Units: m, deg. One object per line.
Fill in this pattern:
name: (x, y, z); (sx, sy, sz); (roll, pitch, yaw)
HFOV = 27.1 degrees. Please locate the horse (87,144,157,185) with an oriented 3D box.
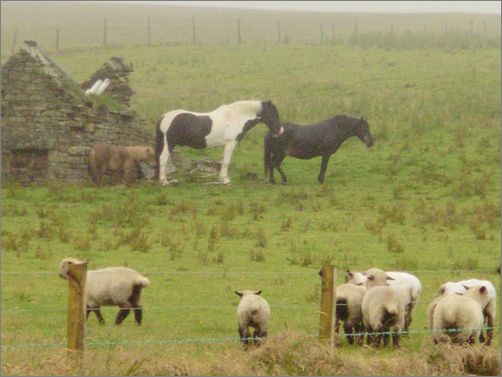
horse: (-7.266, -1.342, 57.619); (3.455, 2.340, 1.214); (1, 0, -33)

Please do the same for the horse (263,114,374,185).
horse: (4.896, -2.713, 59.496); (8.378, 6.183, 2.664); (-1, 5, -3)

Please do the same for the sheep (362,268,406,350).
sheep: (5.582, 5.185, 43.997); (1.202, 2.863, 3.596); (0, 1, 1)

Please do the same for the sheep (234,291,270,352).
sheep: (0.090, 5.448, 43.035); (0.934, 1.813, 2.939); (0, 3, -2)

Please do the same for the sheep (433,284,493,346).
sheep: (9.037, 5.411, 44.645); (1.441, 2.243, 3.082); (2, 2, 31)
